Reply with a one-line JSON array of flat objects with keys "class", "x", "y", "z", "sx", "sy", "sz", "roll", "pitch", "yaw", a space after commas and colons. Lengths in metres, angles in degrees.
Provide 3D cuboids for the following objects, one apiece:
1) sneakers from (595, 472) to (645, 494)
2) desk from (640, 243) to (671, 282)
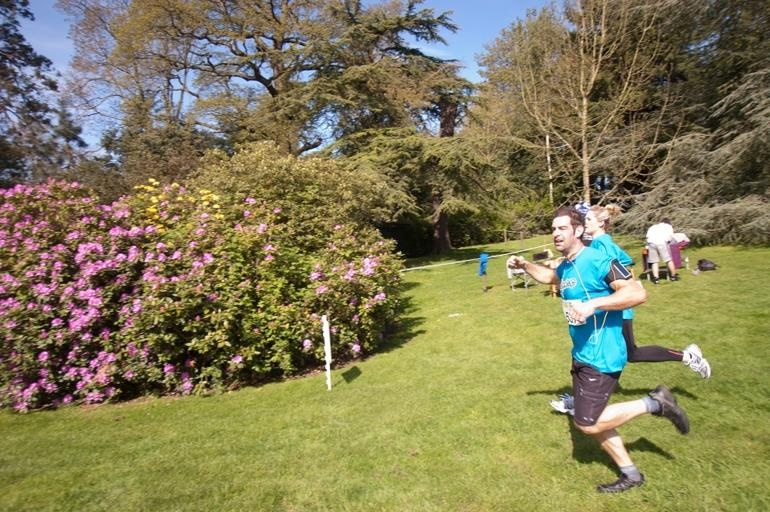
[{"class": "sneakers", "x": 3.194, "y": 3.063, "z": 6.138, "sx": 0.783, "sy": 0.212, "sz": 0.221, "roll": -6, "pitch": -25, "yaw": 0}, {"class": "desk", "x": 7.899, "y": 0.095, "z": 12.959, "sx": 0.734, "sy": 1.081, "sz": 0.397, "roll": -9, "pitch": -14, "yaw": 2}]
